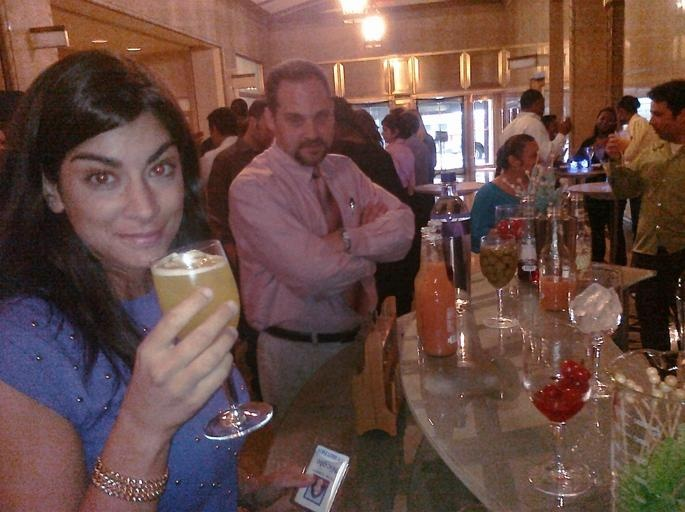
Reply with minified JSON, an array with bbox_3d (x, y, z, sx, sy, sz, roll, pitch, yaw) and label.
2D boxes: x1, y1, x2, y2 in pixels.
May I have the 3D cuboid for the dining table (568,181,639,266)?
[{"bbox_3d":[2.834,-0.313,6.257,0.688,0.788,0.702,1,8,8],"label":"dining table"}]

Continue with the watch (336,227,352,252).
[{"bbox_3d":[0.016,-0.077,2.571,0.032,0.094,0.069,-13,4,-29],"label":"watch"}]

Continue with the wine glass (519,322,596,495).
[{"bbox_3d":[0.496,0.326,1.294,0.143,0.327,0.313,-1,11,23],"label":"wine glass"}]
